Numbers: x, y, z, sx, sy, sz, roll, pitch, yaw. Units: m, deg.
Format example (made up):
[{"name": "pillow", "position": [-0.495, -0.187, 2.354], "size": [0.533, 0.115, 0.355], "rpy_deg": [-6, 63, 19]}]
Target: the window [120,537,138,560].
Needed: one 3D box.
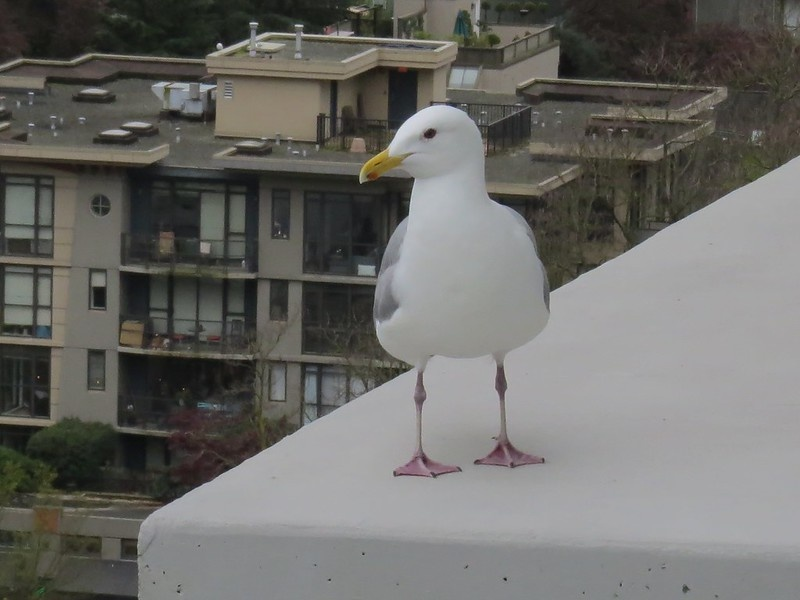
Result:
[{"name": "window", "position": [-6.476, 5.891, 52.831], "size": [0.331, 0.511, 0.690], "rpy_deg": [-10, 1, 2]}]

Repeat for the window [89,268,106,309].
[{"name": "window", "position": [-8.102, -0.305, 59.326], "size": [0.583, 1.092, 0.129], "rpy_deg": [-10, 1, -13]}]

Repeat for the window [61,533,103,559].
[{"name": "window", "position": [-7.604, 5.807, 52.891], "size": [0.906, 0.555, 0.536], "rpy_deg": [-12, 1, -10]}]

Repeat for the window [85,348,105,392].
[{"name": "window", "position": [-8.146, 1.848, 59.374], "size": [0.603, 1.115, 0.156], "rpy_deg": [-10, 1, -9]}]

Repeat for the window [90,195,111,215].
[{"name": "window", "position": [-8.060, -2.577, 59.460], "size": [0.436, 0.556, 0.045], "rpy_deg": [-3, 4, 0]}]
